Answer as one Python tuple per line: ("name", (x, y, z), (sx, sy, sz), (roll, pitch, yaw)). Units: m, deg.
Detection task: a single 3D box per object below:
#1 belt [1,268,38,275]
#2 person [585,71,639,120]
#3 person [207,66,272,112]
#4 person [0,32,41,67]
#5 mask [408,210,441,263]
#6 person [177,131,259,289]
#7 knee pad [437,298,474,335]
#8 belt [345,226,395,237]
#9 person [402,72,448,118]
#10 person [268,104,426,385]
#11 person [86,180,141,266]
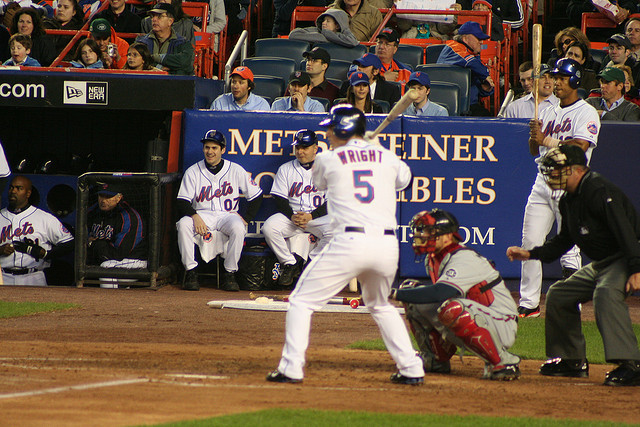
("belt", (-4.238, 0.811, 17.095), (0.393, 0.098, 0.055), (-2, 15, -11))
("person", (4.006, -1.574, 16.610), (0.514, 0.537, 0.850), (-1, 13, -23))
("person", (-1.114, -1.749, 17.347), (0.866, 0.631, 0.997), (0, 14, -1))
("person", (-4.387, -2.373, 17.964), (0.520, 0.488, 1.114), (-3, 14, -13))
("mask", (1.240, 0.231, 13.205), (0.585, 0.550, 0.429), (4, -5, -2))
("person", (-1.395, -0.063, 16.730), (1.081, 2.076, 0.800), (-1, 14, -4))
("knee pad", (1.455, 1.093, 12.956), (0.379, 0.359, 0.119), (2, 15, 6))
("belt", (0.526, 0.187, 12.673), (0.516, 0.097, 0.069), (-1, 14, -5))
("person", (1.456, -1.590, 17.267), (0.822, 0.775, 0.549), (6, 4, 10))
("person", (0.414, 0.349, 12.822), (1.491, 2.879, 1.063), (1, 14, 4))
("person", (-2.835, 0.178, 16.816), (0.742, 1.083, 0.465), (0, 14, -3))
